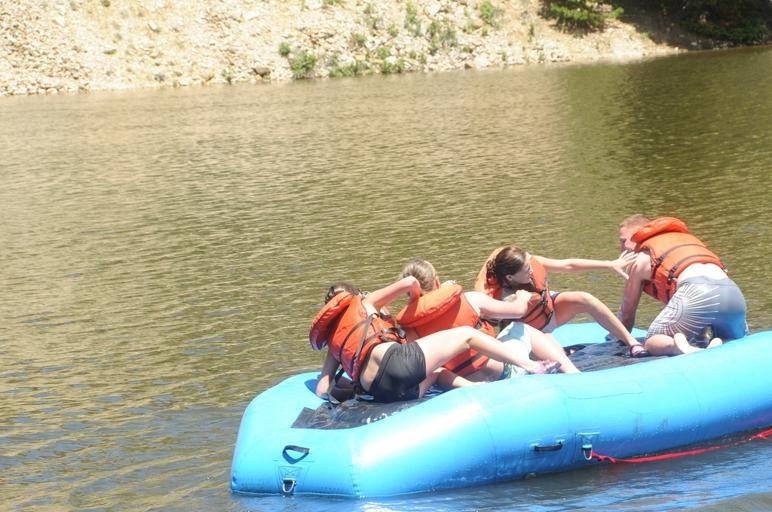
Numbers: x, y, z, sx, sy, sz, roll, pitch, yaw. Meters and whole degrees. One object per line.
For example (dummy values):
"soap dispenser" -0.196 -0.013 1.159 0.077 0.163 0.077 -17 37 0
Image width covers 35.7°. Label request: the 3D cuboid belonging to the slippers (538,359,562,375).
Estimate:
"slippers" 2.648 1.786 19.105 0.284 0.102 0.241 3 9 15
